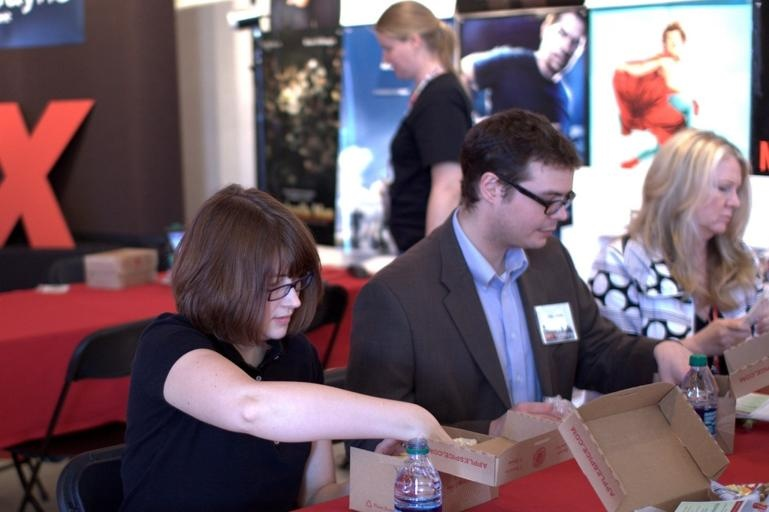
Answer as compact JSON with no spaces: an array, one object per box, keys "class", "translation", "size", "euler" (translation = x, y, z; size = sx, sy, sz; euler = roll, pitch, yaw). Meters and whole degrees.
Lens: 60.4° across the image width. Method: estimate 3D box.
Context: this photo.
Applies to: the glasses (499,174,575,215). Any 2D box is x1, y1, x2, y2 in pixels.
[{"class":"glasses","translation":[0.490,-0.219,2.108],"size":[0.162,0.049,0.157],"euler":[32,14,17]}]
